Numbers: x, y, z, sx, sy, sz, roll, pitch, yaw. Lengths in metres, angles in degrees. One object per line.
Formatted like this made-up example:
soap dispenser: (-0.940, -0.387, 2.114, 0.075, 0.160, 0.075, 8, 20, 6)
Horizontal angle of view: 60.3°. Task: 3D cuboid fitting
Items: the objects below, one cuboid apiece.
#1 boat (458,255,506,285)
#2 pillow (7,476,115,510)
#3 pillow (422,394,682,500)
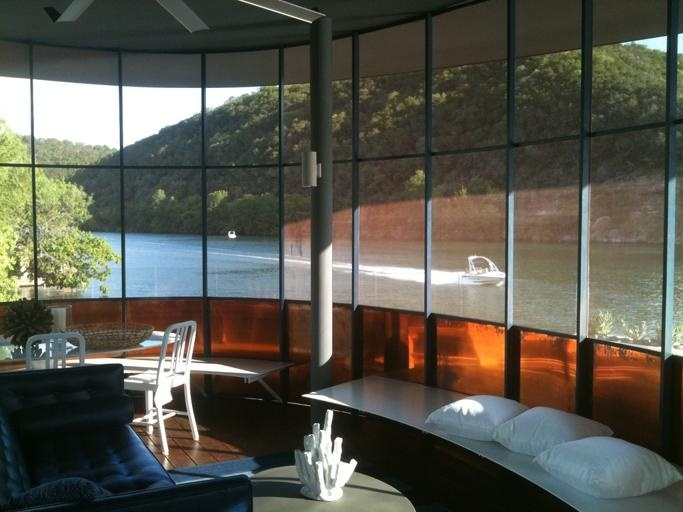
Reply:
boat: (1.412, 0.153, 5.873, 0.167, 0.185, 0.437, -5, 9, -19)
pillow: (-1.624, 1.366, 3.379, 0.300, 0.089, 0.259, -1, -6, -21)
pillow: (1.635, 1.433, 4.556, 1.718, 0.337, 0.621, 7, 10, 43)
